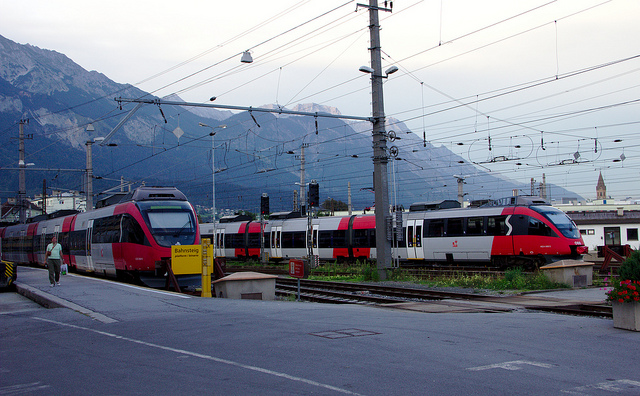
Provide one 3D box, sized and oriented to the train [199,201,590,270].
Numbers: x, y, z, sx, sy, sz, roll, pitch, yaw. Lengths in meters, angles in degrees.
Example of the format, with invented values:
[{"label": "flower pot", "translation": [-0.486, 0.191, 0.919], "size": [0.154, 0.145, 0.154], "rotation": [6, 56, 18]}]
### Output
[{"label": "train", "translation": [4.201, 2.693, 41.164], "size": [4.145, 4.808, 35.024], "rotation": [0, -4, -40]}]
